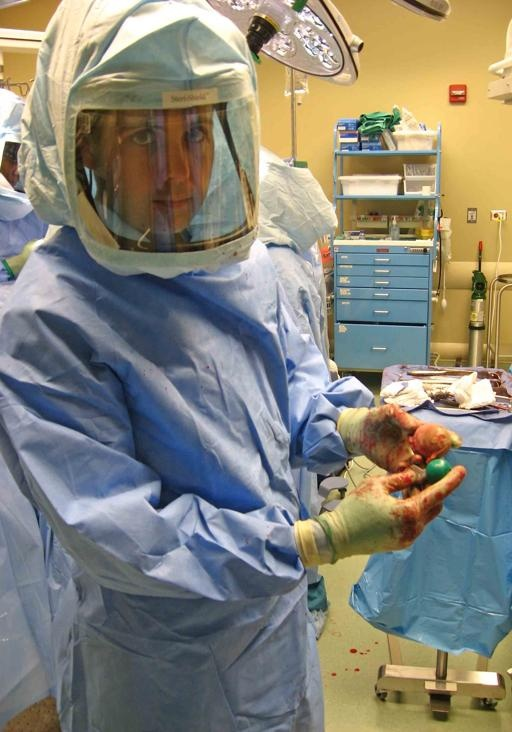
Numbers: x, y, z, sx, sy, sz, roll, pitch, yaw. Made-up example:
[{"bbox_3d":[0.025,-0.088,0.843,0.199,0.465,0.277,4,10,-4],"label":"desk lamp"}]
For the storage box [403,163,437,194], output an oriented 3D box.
[{"bbox_3d":[1.083,-1.256,4.365,0.215,0.220,0.213,0,-4,5],"label":"storage box"}]
